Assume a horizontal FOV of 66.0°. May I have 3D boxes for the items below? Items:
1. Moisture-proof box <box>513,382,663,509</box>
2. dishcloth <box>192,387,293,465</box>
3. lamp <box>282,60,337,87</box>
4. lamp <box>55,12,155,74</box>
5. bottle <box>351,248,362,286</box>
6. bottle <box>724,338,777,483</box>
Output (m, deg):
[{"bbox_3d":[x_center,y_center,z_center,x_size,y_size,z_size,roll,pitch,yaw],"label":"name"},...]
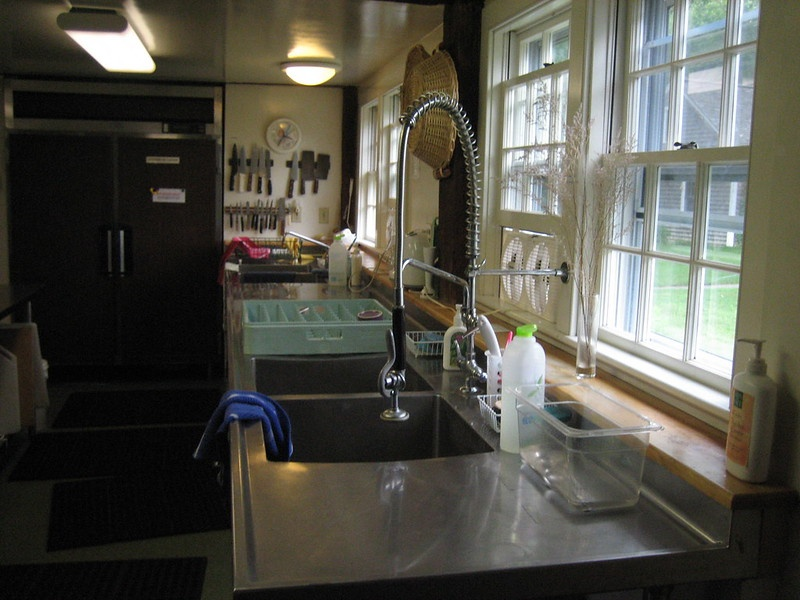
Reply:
[{"bbox_3d":[0.414,0.305,1.468,0.211,0.167,0.310,-2,12,-12],"label":"Moisture-proof box"},{"bbox_3d":[-0.458,0.346,1.796,0.268,0.121,0.390,5,5,-2],"label":"dishcloth"},{"bbox_3d":[-0.746,-1.859,5.015,0.454,0.137,0.327,-1,13,-3],"label":"lamp"},{"bbox_3d":[-1.765,-1.574,3.779,0.345,0.105,0.738,-2,-2,-2],"label":"lamp"},{"bbox_3d":[-0.299,-0.209,4.049,0.072,0.234,0.156,0,12,0],"label":"bottle"},{"bbox_3d":[0.731,0.253,1.296,0.083,0.262,0.043,10,15,41],"label":"bottle"}]
